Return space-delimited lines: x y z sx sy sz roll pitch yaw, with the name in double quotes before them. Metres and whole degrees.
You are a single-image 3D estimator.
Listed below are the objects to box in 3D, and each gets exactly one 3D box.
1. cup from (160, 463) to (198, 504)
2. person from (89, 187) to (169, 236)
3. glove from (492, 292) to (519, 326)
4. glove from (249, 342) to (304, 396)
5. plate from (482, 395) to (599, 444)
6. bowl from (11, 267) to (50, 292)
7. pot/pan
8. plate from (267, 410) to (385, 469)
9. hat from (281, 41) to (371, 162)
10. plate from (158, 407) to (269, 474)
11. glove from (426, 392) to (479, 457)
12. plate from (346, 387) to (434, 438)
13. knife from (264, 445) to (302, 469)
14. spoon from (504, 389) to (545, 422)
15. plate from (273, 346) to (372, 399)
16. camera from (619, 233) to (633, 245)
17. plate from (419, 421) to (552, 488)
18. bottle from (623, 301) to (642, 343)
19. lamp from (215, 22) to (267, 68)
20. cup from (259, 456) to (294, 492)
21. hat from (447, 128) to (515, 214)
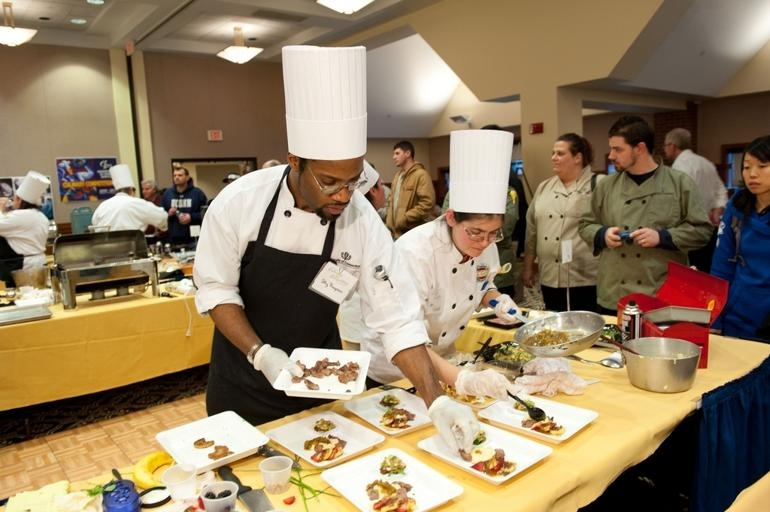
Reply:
"cup" -0.754 0.831 1.829 0.113 0.112 0.141 7 9 43
"person" -3.257 -0.482 6.066 0.933 0.487 0.527 -4 0 -4
"glove" 0.746 0.336 2.979 0.145 0.070 0.191 32 19 -49
"glove" -0.510 0.472 2.199 0.191 0.127 0.317 2 3 -15
"plate" 0.677 0.734 2.183 0.263 0.041 0.257 3 10 40
"bowl" -3.316 0.222 4.533 0.232 0.158 0.195 0 -3 -13
"pot/pan" 0.895 0.370 2.576 0.245 0.072 0.406 -26 20 -24
"plate" -0.273 0.785 2.103 0.221 0.027 0.240 -9 15 -41
"hat" -0.276 -0.674 2.282 0.454 0.505 0.466 -5 11 -23
"plate" -0.751 0.786 2.079 0.248 0.037 0.248 -7 14 -37
"glove" 0.264 0.695 2.018 0.166 0.230 0.070 -24 -19 -29
"plate" 0.021 0.723 2.219 0.199 0.028 0.201 13 19 40
"knife" -0.411 0.808 1.948 0.179 0.046 0.042 15 19 33
"spoon" 0.622 0.667 2.284 0.045 0.079 0.322 -12 16 -25
"plate" -0.251 0.521 2.138 0.279 0.051 0.281 2 19 5
"camera" 1.787 -0.127 3.594 0.080 0.036 0.096 -1 11 -2
"plate" 0.460 0.808 1.994 0.254 0.038 0.236 7 14 44
"bottle" 1.379 0.368 2.721 0.101 0.249 0.098 -8 22 3
"lamp" -2.338 -3.407 7.735 0.560 0.357 0.583 -10 14 -21
"cup" -0.423 0.864 1.882 0.127 0.096 0.134 -7 -15 -2
"hat" 0.490 -0.419 2.694 0.390 0.461 0.409 1 1 -44
